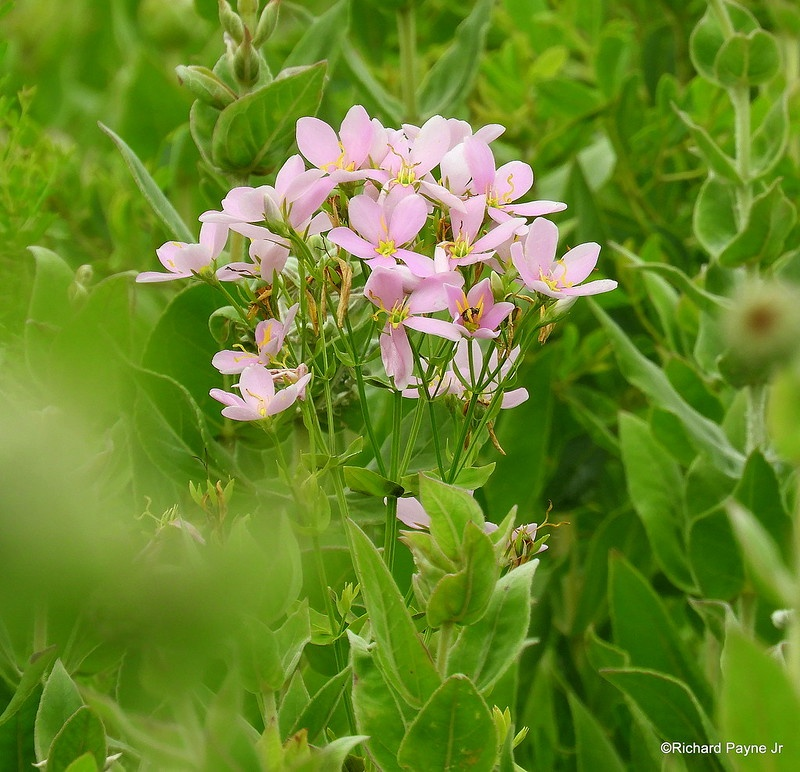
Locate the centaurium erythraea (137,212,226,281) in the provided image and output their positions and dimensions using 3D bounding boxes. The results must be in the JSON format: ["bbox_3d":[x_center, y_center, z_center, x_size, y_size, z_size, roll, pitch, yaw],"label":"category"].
[{"bbox_3d":[-0.102,-0.063,0.582,0.021,0.036,0.038,56,42,-6],"label":"centaurium erythraea"}]

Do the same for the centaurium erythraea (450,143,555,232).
[{"bbox_3d":[0.049,-0.083,0.562,0.039,0.022,0.051,-17,87,-44],"label":"centaurium erythraea"}]

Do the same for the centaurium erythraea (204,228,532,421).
[{"bbox_3d":[-0.013,-0.028,0.553,0.152,0.104,0.087,-3,52,-5],"label":"centaurium erythraea"}]

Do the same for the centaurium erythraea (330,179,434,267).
[{"bbox_3d":[-0.005,-0.070,0.531,0.042,0.042,0.025,3,78,23],"label":"centaurium erythraea"}]

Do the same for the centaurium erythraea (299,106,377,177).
[{"bbox_3d":[-0.031,-0.113,0.540,0.038,0.027,0.028,7,53,2],"label":"centaurium erythraea"}]
